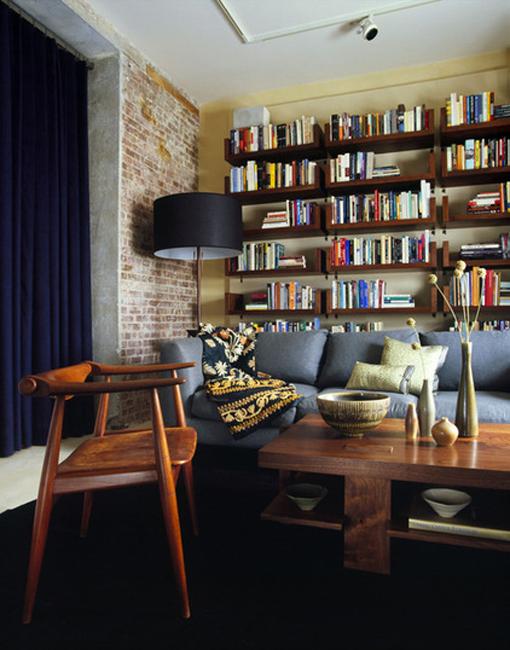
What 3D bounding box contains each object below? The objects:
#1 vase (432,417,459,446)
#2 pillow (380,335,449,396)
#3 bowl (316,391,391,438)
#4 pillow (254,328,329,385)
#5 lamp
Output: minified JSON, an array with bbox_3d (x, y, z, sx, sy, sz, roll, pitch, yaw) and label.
[{"bbox_3d":[0.646,0.365,1.873,0.096,0.107,0.095,1,-4,-36],"label":"vase"},{"bbox_3d":[0.880,0.233,2.954,0.309,0.265,0.165,1,-11,37],"label":"pillow"},{"bbox_3d":[0.349,0.336,2.000,0.262,0.140,0.255,2,-1,0],"label":"bowl"},{"bbox_3d":[0.237,0.217,3.431,0.346,0.248,0.127,3,-8,13],"label":"pillow"},{"bbox_3d":[-0.429,-0.521,4.074,0.632,0.940,0.742,-1,2,10],"label":"lamp"}]
